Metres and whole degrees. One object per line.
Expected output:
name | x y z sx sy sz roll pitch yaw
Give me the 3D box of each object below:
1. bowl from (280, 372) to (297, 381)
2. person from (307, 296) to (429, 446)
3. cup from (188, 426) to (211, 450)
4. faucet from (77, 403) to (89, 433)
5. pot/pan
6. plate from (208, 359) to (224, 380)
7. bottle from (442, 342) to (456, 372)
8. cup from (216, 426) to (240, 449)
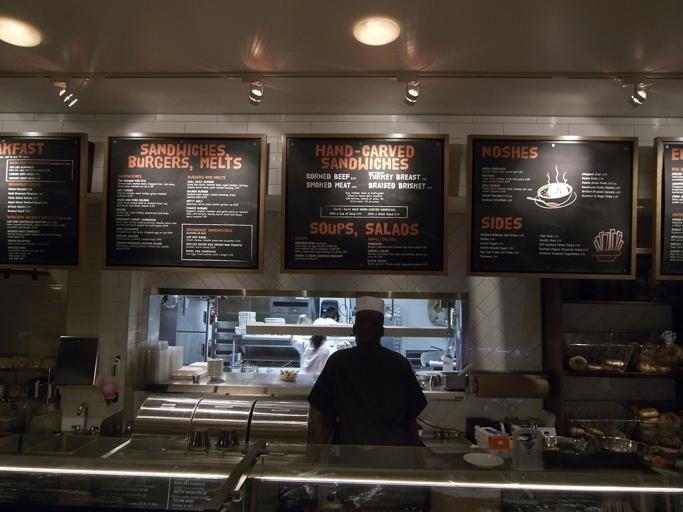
bowl | -0.468 1.046 5.331 0.147 0.079 0.145 -1 -2 0
person | 0.142 0.765 3.726 0.724 0.867 0.437 -1 -2 7
cup | -0.893 1.151 3.853 0.127 0.085 0.125 1 -4 0
faucet | -2.091 1.293 4.903 0.081 0.206 0.104 0 -3 -19
pot/pan | 1.559 1.219 3.771 0.498 0.112 0.459 -1 -6 0
plate | -1.095 0.987 5.298 0.171 0.224 0.166 1 -9 -6
bottle | 0.939 0.889 5.339 0.111 0.198 0.256 -2 -2 10
cup | -0.701 1.126 3.765 0.114 0.070 0.111 2 -8 0
